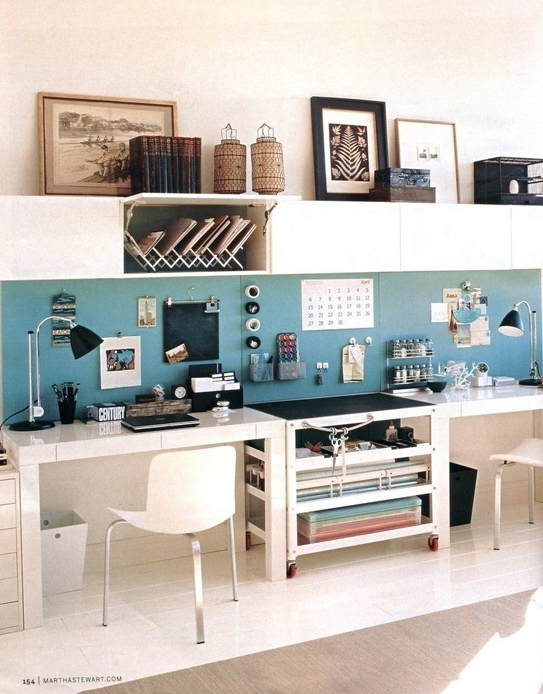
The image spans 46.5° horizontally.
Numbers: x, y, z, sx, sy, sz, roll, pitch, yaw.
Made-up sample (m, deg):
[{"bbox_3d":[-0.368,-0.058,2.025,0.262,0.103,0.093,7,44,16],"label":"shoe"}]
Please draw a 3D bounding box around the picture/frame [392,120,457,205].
[{"bbox_3d":[0.917,-1.123,3.841,0.415,0.489,0.021,-2,2,-16],"label":"picture/frame"}]

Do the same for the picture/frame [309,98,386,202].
[{"bbox_3d":[0.407,-1.095,3.555,0.630,0.720,0.061,-2,0,-31],"label":"picture/frame"}]

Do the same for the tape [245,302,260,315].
[{"bbox_3d":[-0.100,-0.205,3.407,0.068,0.067,0.016,0,2,-17],"label":"tape"}]

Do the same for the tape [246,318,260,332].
[{"bbox_3d":[-0.096,-0.118,3.421,0.069,0.068,0.027,-3,6,-31],"label":"tape"}]

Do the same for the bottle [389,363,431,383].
[{"bbox_3d":[0.840,0.163,3.863,0.284,0.117,0.091,-1,1,-33],"label":"bottle"}]

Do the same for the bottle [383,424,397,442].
[{"bbox_3d":[0.640,0.474,3.488,0.074,0.102,0.073,-1,2,0],"label":"bottle"}]

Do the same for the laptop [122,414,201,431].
[{"bbox_3d":[-0.502,0.339,2.892,0.323,0.035,0.325,-1,1,-24],"label":"laptop"}]

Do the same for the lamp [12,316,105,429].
[{"bbox_3d":[-0.947,0.108,2.801,0.362,0.354,0.385,-1,1,-22],"label":"lamp"}]

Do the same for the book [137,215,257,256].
[{"bbox_3d":[-0.375,-0.485,3.019,0.365,0.131,0.268,2,2,-21],"label":"book"}]

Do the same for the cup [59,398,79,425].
[{"bbox_3d":[-0.920,0.292,2.900,0.100,0.117,0.102,-4,-5,0],"label":"cup"}]

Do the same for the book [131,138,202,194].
[{"bbox_3d":[-0.444,-0.801,2.842,0.272,0.258,0.075,-1,1,-23],"label":"book"}]

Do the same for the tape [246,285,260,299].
[{"bbox_3d":[-0.105,-0.294,3.406,0.065,0.063,0.021,-11,3,-31],"label":"tape"}]

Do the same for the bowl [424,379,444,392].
[{"bbox_3d":[0.980,0.236,3.841,0.083,0.054,0.082,1,-3,0],"label":"bowl"}]

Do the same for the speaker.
[{"bbox_3d":[1.003,0.855,3.750,0.348,0.329,0.345,0,1,-4],"label":"speaker"}]

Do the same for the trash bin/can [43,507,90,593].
[{"bbox_3d":[-0.921,0.930,2.857,0.183,0.235,0.318,-1,1,-20],"label":"trash bin/can"}]

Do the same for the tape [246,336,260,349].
[{"bbox_3d":[-0.094,-0.022,3.420,0.067,0.066,0.017,6,-2,-31],"label":"tape"}]

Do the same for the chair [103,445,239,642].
[{"bbox_3d":[-0.393,0.740,2.526,0.528,0.722,0.504,-1,-3,-8],"label":"chair"}]

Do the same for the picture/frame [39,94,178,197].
[{"bbox_3d":[-0.730,-0.940,2.962,0.608,0.421,0.020,-2,0,-5],"label":"picture/frame"}]
